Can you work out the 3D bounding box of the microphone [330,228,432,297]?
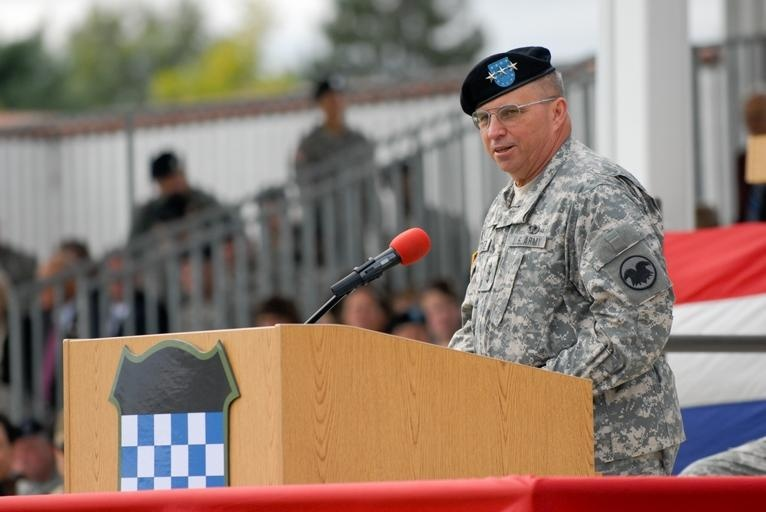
[{"bbox_3d":[-0.017,0.061,19.165,0.792,0.242,0.226,-31,25,-16],"label":"microphone"}]
